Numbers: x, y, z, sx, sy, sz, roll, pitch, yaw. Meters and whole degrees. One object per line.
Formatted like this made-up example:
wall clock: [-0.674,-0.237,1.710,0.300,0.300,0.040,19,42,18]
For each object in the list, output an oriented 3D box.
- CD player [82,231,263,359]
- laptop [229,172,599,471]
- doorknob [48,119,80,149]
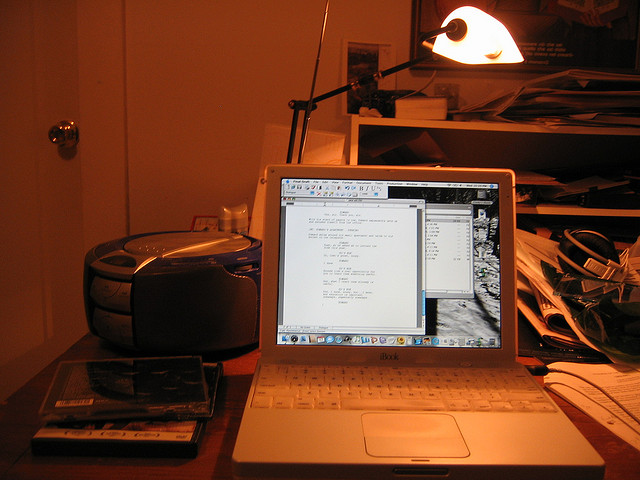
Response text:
CD player: [-0.324,0.101,1.291,0.431,0.394,0.195,8,-77,32]
laptop: [0.147,0.130,1.129,0.692,0.547,0.411,1,-78,0]
doorknob: [-0.632,-0.268,1.395,0.077,0.076,0.069,-7,-75,-14]
